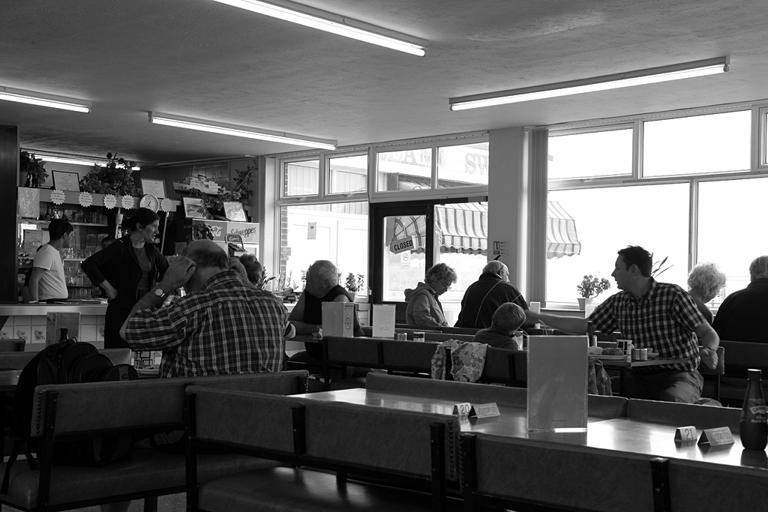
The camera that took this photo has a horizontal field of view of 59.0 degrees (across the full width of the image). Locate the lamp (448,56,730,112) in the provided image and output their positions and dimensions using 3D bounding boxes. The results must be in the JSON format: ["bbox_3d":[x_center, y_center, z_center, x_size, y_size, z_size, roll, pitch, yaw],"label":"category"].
[{"bbox_3d":[2.409,-2.091,8.245,3.179,0.310,0.323,4,3,32],"label":"lamp"}]

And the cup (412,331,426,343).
[{"bbox_3d":[0.350,0.786,6.777,0.139,0.127,0.119,0,3,-42],"label":"cup"}]

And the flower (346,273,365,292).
[{"bbox_3d":[-0.484,0.471,12.301,0.344,0.357,0.372,-3,-2,34],"label":"flower"}]

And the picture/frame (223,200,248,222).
[{"bbox_3d":[-2.881,-0.883,13.195,0.303,0.397,0.525,3,3,22],"label":"picture/frame"}]

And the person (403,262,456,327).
[{"bbox_3d":[0.541,0.445,8.180,0.714,0.880,0.774,0,-3,4],"label":"person"}]

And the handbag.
[{"bbox_3d":[-1.687,0.679,3.485,0.578,0.570,0.440,1,-2,27],"label":"handbag"}]

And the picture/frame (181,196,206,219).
[{"bbox_3d":[-3.556,-0.906,12.650,0.459,0.316,0.050,2,-13,-42],"label":"picture/frame"}]

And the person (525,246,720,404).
[{"bbox_3d":[2.149,0.535,5.845,0.688,1.144,1.021,20,-29,-30],"label":"person"}]

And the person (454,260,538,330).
[{"bbox_3d":[1.222,0.483,7.620,0.496,0.836,0.882,14,-12,-33],"label":"person"}]

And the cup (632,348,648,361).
[{"bbox_3d":[1.896,0.733,5.044,0.092,0.082,0.089,0,2,0],"label":"cup"}]

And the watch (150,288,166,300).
[{"bbox_3d":[-1.307,0.218,3.958,0.068,0.070,0.065,30,-35,13],"label":"watch"}]

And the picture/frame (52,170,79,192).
[{"bbox_3d":[-5.576,-1.309,11.898,0.062,0.400,0.594,-1,-1,36],"label":"picture/frame"}]

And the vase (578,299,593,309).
[{"bbox_3d":[2.973,0.690,10.051,0.175,0.187,0.193,0,1,7],"label":"vase"}]
